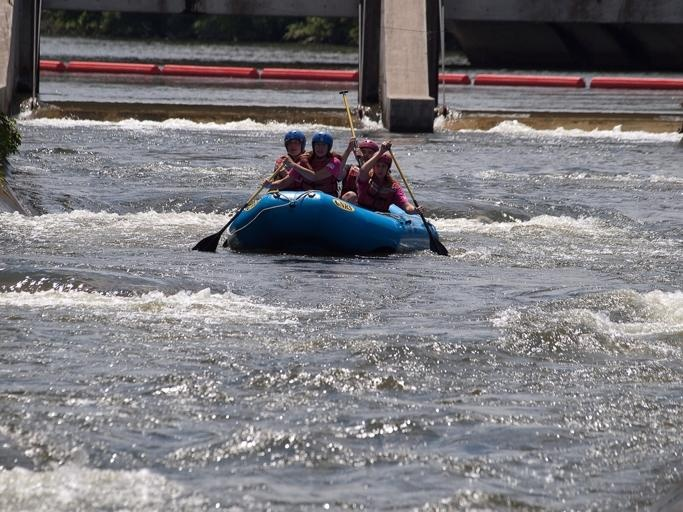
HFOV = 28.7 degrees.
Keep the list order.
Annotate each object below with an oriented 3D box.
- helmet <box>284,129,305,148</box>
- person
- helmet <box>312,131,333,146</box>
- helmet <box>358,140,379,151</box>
[{"bbox_3d":[-0.610,-1.618,18.380,0.231,0.243,0.200,0,-5,3],"label":"helmet"},{"bbox_3d":[0.193,-1.197,18.690,1.164,0.623,1.844,-3,-18,40],"label":"person"},{"bbox_3d":[-0.236,-1.581,18.137,0.197,0.163,0.229,8,18,1],"label":"helmet"},{"bbox_3d":[0.400,-1.507,18.319,0.265,0.119,0.336,5,1,5],"label":"helmet"}]
